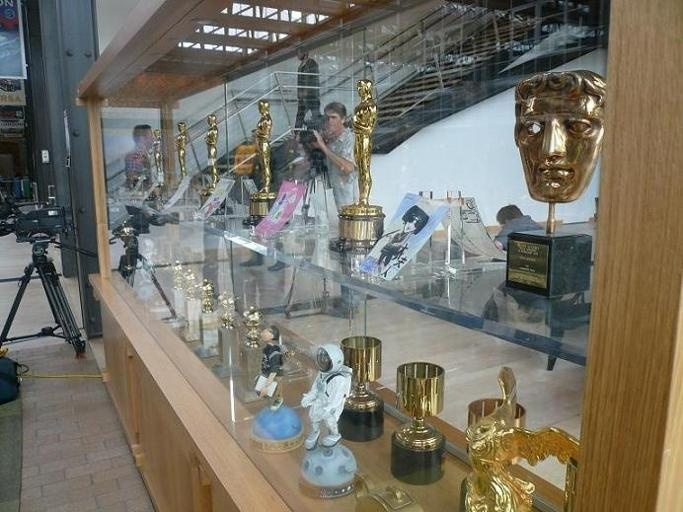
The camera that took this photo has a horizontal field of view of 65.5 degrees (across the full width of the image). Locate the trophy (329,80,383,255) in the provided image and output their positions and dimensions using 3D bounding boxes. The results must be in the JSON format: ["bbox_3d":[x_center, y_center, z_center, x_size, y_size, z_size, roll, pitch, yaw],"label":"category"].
[{"bbox_3d":[0.045,-0.170,1.053,0.086,0.331,0.095,-5,19,-29],"label":"trophy"}]

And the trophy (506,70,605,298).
[{"bbox_3d":[0.285,-0.097,0.722,0.118,0.297,0.074,5,12,27],"label":"trophy"}]

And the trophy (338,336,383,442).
[{"bbox_3d":[0.044,0.277,1.183,0.129,0.194,0.145,-6,9,-40],"label":"trophy"}]

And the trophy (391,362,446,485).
[{"bbox_3d":[0.157,0.300,1.018,0.092,0.217,0.110,-3,7,-21],"label":"trophy"}]
